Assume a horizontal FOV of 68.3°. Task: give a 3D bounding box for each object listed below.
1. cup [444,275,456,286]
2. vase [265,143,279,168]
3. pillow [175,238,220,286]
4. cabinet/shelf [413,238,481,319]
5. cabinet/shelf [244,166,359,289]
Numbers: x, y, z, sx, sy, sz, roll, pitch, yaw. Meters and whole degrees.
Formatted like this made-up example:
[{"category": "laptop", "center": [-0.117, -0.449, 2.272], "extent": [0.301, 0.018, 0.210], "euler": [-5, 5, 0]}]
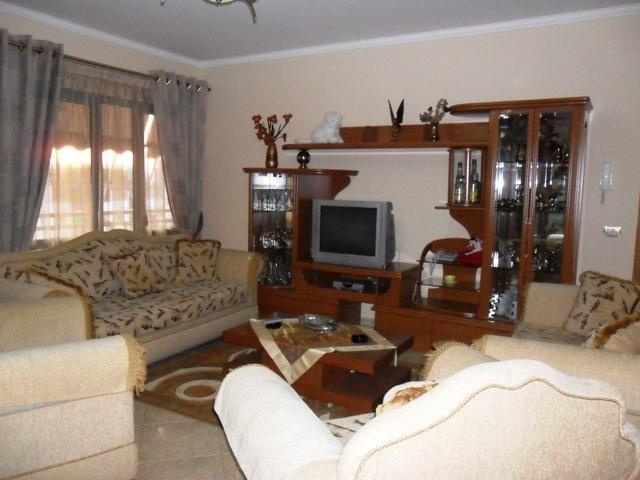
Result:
[{"category": "cup", "center": [1.189, 0.369, 4.284], "extent": [0.089, 0.064, 0.088], "euler": [1, 3, 0]}, {"category": "vase", "center": [-0.489, -0.864, 4.831], "extent": [0.110, 0.253, 0.080], "euler": [0, 6, -8]}, {"category": "pillow", "center": [-1.178, 0.230, 4.495], "extent": [0.433, 0.435, 0.152], "euler": [1, -5, -14]}, {"category": "cabinet/shelf", "center": [1.182, 0.373, 4.283], "extent": [0.647, 0.625, 0.357], "euler": [5, 7, 32]}, {"category": "cabinet/shelf", "center": [-0.191, -0.089, 4.706], "extent": [1.189, 1.098, 0.512], "euler": [3, 5, 29]}]
